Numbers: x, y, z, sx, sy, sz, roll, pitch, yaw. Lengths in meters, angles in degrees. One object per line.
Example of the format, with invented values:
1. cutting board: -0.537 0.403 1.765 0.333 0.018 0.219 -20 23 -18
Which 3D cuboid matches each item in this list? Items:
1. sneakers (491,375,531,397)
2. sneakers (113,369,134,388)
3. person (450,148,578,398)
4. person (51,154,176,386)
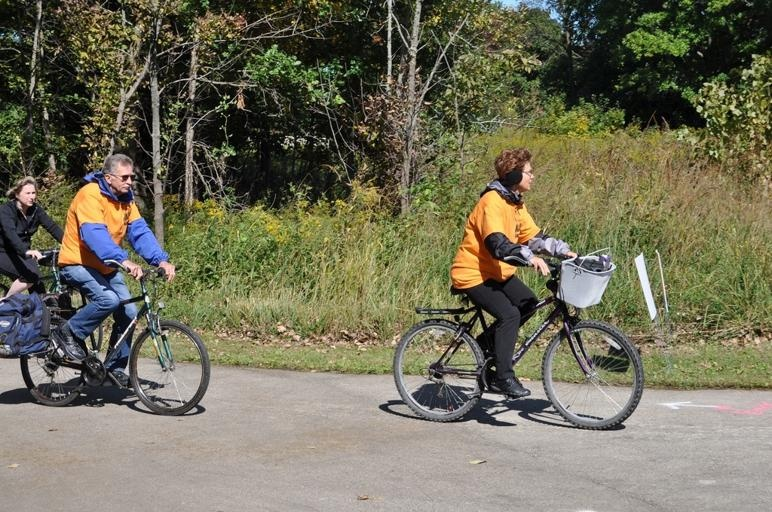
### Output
1. sneakers: 1.411 1.508 9.456 0.427 0.182 0.202 2 -1 32
2. sneakers: -3.226 1.487 10.004 0.347 0.139 0.117 25 28 29
3. person: 1.338 0.190 9.616 1.134 2.835 0.891 3 11 15
4. person: -3.372 0.176 10.045 1.393 2.788 0.812 5 12 23
